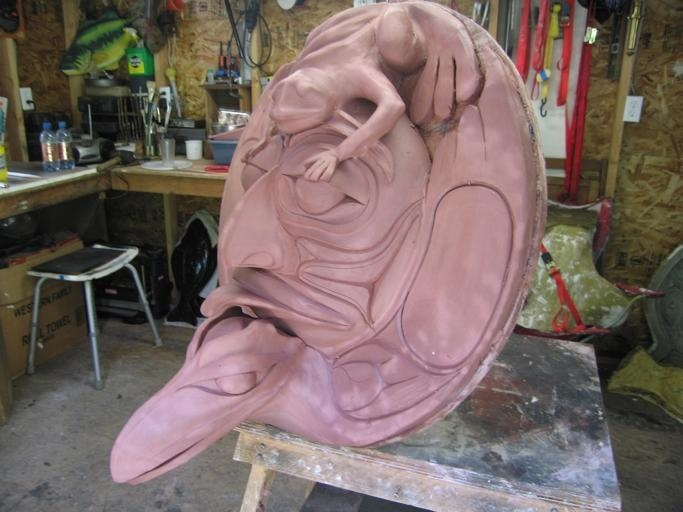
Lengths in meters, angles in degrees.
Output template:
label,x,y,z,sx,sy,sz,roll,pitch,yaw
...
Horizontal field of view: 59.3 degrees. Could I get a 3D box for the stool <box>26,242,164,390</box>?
label,x,y,z,sx,sy,sz,roll,pitch,yaw
stool,-1.238,0.269,2.994,0.422,0.574,0.459,8,18,17

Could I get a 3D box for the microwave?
label,x,y,z,sx,sy,sz,roll,pitch,yaw
microwave,-1.173,0.184,3.279,0.291,0.339,0.165,-6,9,9

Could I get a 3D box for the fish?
label,x,y,z,sx,sy,sz,roll,pitch,yaw
fish,-1.462,-1.311,3.612,0.523,0.285,0.110,-40,9,-5

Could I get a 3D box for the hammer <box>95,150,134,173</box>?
label,x,y,z,sx,sy,sz,roll,pitch,yaw
hammer,-1.186,-0.519,3.171,0.184,0.104,0.076,-33,-9,-12
